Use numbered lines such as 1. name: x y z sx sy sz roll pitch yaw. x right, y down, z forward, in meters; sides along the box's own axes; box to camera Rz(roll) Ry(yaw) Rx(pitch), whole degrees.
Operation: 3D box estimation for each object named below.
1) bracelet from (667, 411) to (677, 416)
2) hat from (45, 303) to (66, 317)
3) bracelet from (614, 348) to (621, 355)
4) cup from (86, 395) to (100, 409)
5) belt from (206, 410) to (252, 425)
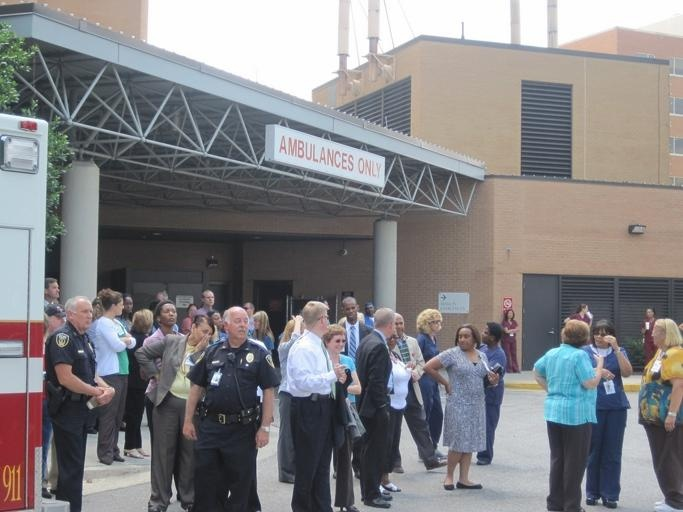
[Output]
1. bracelet: 4.662 2.207 13.540 0.125 0.078 0.062 0 -3 3
2. hat: -4.307 0.784 14.416 0.268 0.107 0.193 14 6 16
3. bracelet: 4.041 1.393 14.133 0.093 0.094 0.025 -1 -13 9
4. cup: -3.192 1.898 12.462 0.180 0.172 0.221 -1 -3 9
5. belt: -1.389 2.027 12.137 0.546 0.164 0.075 0 -3 -3
